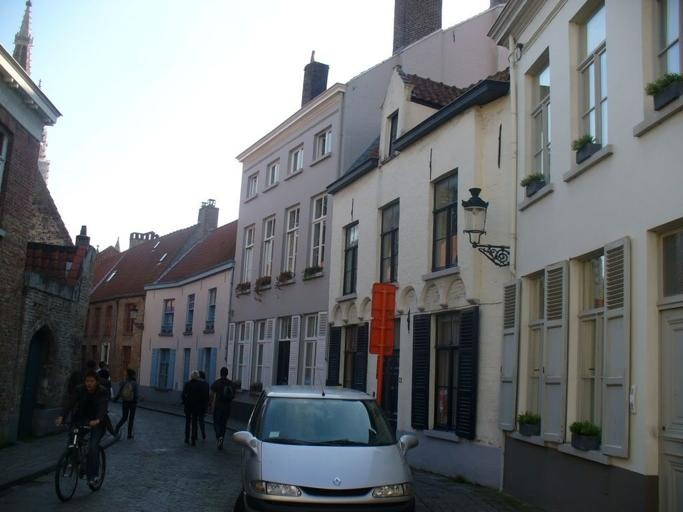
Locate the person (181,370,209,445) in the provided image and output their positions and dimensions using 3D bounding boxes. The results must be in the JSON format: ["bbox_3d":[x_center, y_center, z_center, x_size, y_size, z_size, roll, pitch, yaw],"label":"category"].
[{"bbox_3d":[-4.304,4.521,17.164,0.748,2.097,1.445,4,-17,-14],"label":"person"}]

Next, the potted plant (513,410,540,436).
[{"bbox_3d":[3.226,2.935,10.150,0.329,0.398,0.349,4,-7,-25],"label":"potted plant"}]

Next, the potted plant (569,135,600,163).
[{"bbox_3d":[3.758,-1.659,9.110,0.334,0.515,0.490,-2,-4,-5],"label":"potted plant"}]

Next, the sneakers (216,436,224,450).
[{"bbox_3d":[-3.307,5.274,15.932,0.171,0.222,0.529,3,-46,-10],"label":"sneakers"}]

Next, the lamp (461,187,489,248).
[{"bbox_3d":[2.707,-0.741,11.834,0.508,1.194,0.495,0,-2,35],"label":"lamp"}]

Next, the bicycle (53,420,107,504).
[{"bbox_3d":[-4.703,3.577,10.430,0.816,1.234,1.845,-11,0,-36],"label":"bicycle"}]

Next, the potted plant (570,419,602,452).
[{"bbox_3d":[3.492,2.601,8.503,0.344,0.484,0.444,5,-11,-13],"label":"potted plant"}]
